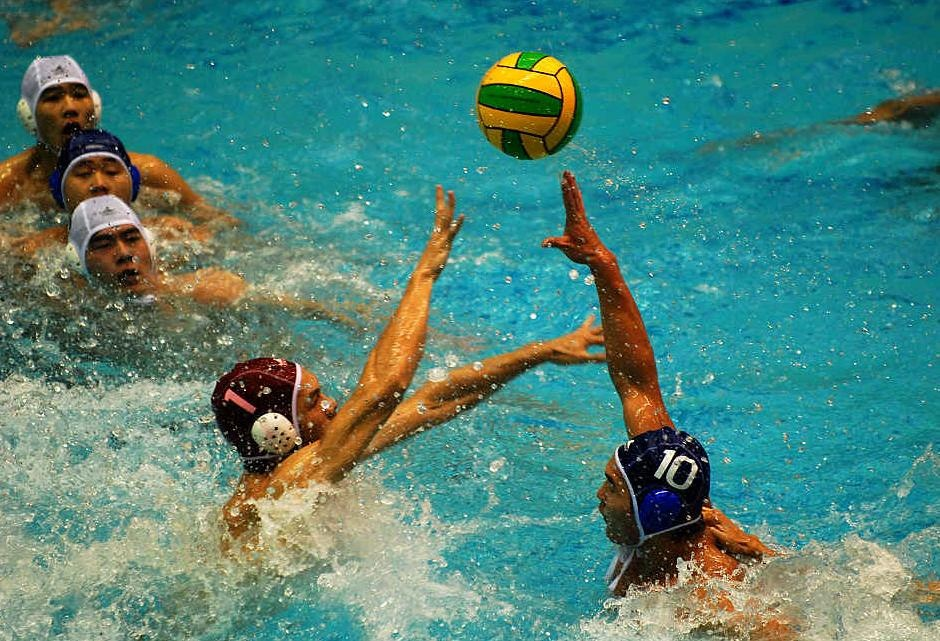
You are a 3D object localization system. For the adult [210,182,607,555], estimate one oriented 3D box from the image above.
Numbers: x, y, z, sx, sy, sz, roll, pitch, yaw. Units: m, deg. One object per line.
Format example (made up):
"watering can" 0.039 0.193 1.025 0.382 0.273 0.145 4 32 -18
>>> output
"adult" -0.306 0.277 4.872 1.927 0.848 1.708 -20 22 -3

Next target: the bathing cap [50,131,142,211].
"bathing cap" -2.352 -0.947 6.131 0.565 0.410 0.485 -7 -4 -12

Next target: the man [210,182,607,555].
"man" -0.363 0.292 4.856 1.927 0.848 1.708 -20 22 -3

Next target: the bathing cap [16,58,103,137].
"bathing cap" -2.808 -1.553 6.544 0.574 0.450 0.430 -22 28 -37

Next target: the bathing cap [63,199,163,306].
"bathing cap" -2.133 -0.501 5.807 0.541 0.526 0.629 -15 9 -4

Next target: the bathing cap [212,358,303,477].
"bathing cap" -0.973 0.438 4.626 0.574 0.473 0.394 -6 7 -12

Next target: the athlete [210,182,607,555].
"athlete" -0.387 0.333 4.842 1.927 0.848 1.708 -20 22 -3
